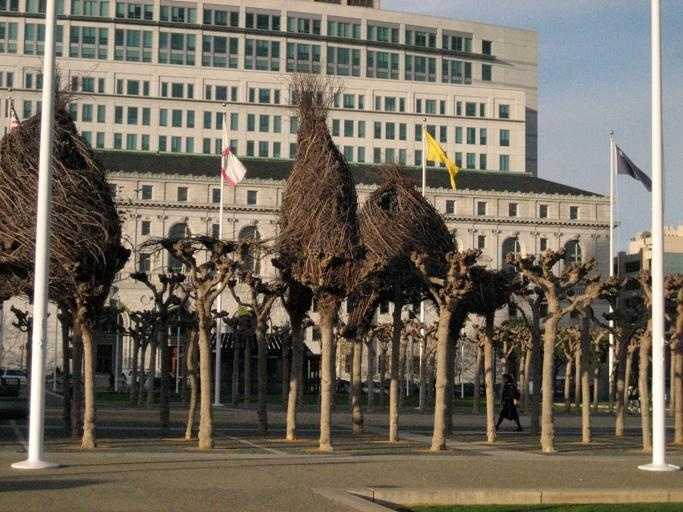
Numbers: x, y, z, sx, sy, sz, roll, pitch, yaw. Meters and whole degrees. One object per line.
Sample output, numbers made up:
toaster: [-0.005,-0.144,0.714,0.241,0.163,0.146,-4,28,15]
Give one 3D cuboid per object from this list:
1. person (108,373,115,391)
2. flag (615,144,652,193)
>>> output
person: [-16.604,8.947,112.260,0.327,1.214,1.122,2,-9,-20]
flag: [15.535,-4.975,83.922,1.578,3.133,7.439,-2,-8,9]
